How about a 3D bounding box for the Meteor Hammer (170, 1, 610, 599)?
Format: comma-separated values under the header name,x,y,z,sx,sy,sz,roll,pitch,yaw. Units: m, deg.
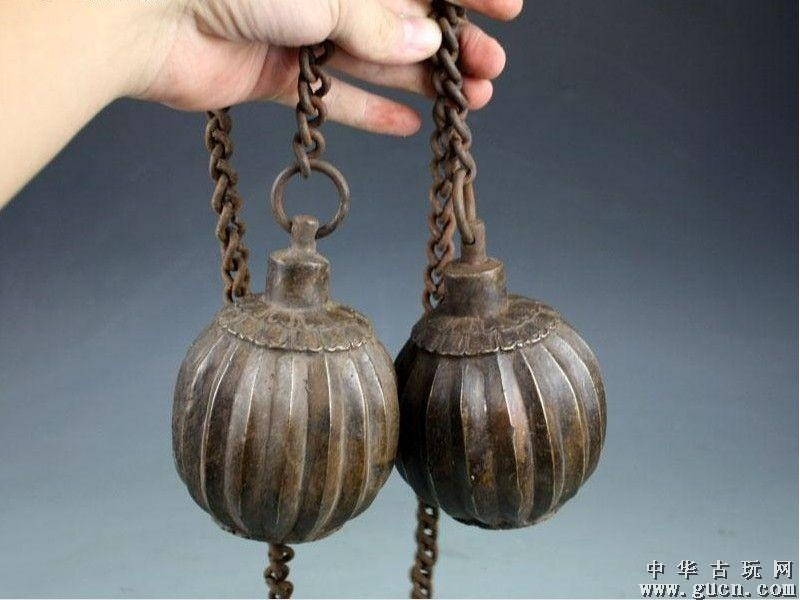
name,x,y,z,sx,sy,sz,roll,pitch,yaw
Meteor Hammer,0.006,-0.085,2.844,1.003,1.146,0.748,10,-40,-13
